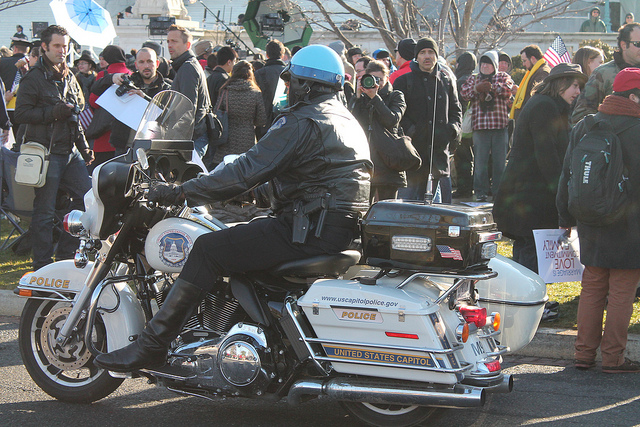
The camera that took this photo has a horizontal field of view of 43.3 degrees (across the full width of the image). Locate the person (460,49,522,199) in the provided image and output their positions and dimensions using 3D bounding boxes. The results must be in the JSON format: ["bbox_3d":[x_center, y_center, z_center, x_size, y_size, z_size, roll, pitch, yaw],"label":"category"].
[{"bbox_3d":[2.825,-1.477,13.386,1.071,2.680,0.928,3,-13,9],"label":"person"}]

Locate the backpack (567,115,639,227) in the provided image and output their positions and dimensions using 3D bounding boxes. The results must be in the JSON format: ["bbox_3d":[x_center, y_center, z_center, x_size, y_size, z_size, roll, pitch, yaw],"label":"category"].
[{"bbox_3d":[2.656,-0.378,7.509,0.589,1.013,0.397,0,7,20],"label":"backpack"}]

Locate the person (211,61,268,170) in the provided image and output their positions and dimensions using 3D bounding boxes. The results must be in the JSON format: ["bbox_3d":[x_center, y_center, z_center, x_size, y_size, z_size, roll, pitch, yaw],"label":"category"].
[{"bbox_3d":[-1.230,-1.246,11.826,0.955,2.096,0.719,2,32,-9],"label":"person"}]

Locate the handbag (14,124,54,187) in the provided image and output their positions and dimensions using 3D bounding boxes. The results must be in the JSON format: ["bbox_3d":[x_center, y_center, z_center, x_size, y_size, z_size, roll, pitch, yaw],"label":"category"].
[{"bbox_3d":[-3.707,-0.880,10.365,0.430,1.071,0.389,7,-2,-4],"label":"handbag"}]

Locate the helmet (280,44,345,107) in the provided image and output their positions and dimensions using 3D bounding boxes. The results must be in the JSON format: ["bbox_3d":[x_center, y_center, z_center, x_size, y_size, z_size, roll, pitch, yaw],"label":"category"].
[{"bbox_3d":[-0.053,-1.132,6.580,0.531,0.560,0.456,16,12,21],"label":"helmet"}]
